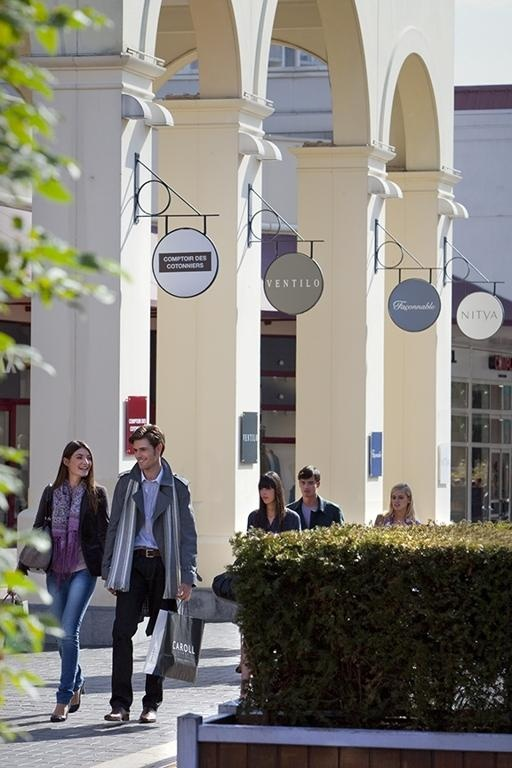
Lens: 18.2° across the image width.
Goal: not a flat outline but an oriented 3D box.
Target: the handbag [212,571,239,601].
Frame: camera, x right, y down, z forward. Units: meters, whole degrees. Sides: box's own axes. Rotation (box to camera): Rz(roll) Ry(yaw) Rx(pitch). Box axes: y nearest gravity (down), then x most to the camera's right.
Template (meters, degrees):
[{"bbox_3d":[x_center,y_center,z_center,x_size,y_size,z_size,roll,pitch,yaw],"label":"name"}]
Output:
[{"bbox_3d":[-0.157,0.983,7.744,0.086,0.134,0.376,2,-7,-5],"label":"handbag"}]

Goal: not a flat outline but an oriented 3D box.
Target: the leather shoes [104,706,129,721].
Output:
[{"bbox_3d":[-0.704,1.667,8.058,0.050,0.067,0.140,-8,-23,27],"label":"leather shoes"}]

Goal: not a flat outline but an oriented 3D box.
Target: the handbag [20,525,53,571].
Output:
[{"bbox_3d":[-1.130,0.845,8.188,0.165,0.231,0.559,3,-7,-8],"label":"handbag"}]

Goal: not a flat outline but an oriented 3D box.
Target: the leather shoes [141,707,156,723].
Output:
[{"bbox_3d":[-0.548,1.674,8.073,0.079,0.068,0.115,2,-6,1],"label":"leather shoes"}]

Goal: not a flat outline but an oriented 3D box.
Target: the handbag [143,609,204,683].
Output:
[{"bbox_3d":[-0.396,1.244,7.607,0.269,0.325,0.163,2,-6,-4],"label":"handbag"}]

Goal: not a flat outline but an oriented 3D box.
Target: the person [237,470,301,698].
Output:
[{"bbox_3d":[0.065,1.125,8.977,0.273,1.223,0.358,2,1,19],"label":"person"}]

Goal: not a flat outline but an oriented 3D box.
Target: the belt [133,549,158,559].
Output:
[{"bbox_3d":[-0.555,0.871,8.196,0.118,0.050,0.030,3,-6,-12],"label":"belt"}]

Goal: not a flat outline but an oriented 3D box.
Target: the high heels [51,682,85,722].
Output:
[{"bbox_3d":[-0.969,1.645,8.236,0.108,0.186,0.392,-4,-14,7],"label":"high heels"}]
